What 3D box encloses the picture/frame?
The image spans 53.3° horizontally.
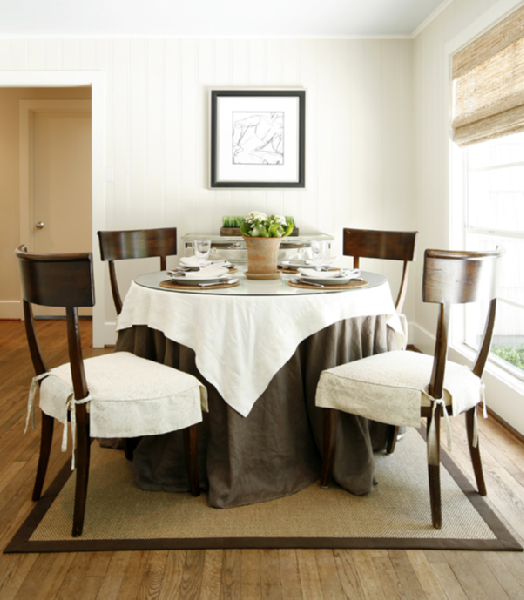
[{"bbox_3d":[-0.040,-1.218,3.972,0.686,0.891,0.058,1,-19,0],"label":"picture/frame"}]

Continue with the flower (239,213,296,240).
[{"bbox_3d":[0.017,-0.302,2.153,0.152,0.090,0.151,3,6,26],"label":"flower"}]

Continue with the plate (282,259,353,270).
[{"bbox_3d":[0.271,-0.180,2.632,0.195,0.026,0.215,1,0,-17],"label":"plate"}]

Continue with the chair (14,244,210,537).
[{"bbox_3d":[-0.501,0.242,1.774,0.547,0.879,0.562,-3,10,-25],"label":"chair"}]

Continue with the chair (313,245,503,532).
[{"bbox_3d":[0.485,0.264,1.705,0.615,0.859,0.468,1,7,7],"label":"chair"}]

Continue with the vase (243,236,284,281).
[{"bbox_3d":[0.006,-0.164,2.135,0.131,0.193,0.156,0,2,1],"label":"vase"}]
